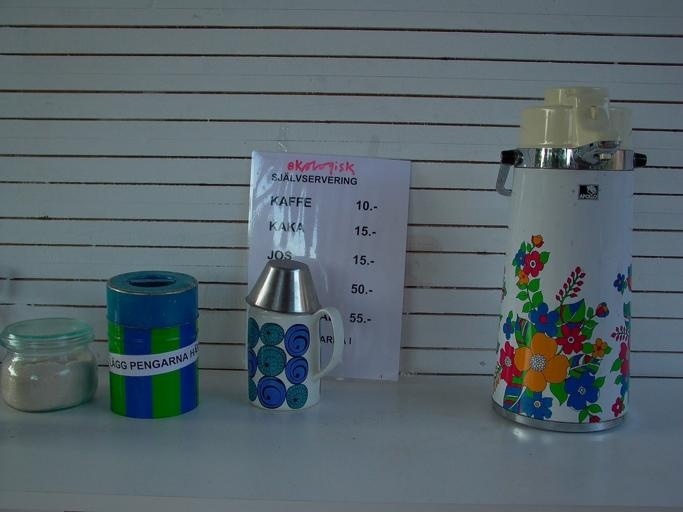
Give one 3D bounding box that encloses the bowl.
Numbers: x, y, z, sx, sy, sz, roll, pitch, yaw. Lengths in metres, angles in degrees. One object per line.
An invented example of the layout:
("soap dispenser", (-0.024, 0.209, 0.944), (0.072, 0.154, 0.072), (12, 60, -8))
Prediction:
("bowl", (-0.137, 0.074, 2.077), (0.176, 0.102, 0.189), (7, 11, -1))
